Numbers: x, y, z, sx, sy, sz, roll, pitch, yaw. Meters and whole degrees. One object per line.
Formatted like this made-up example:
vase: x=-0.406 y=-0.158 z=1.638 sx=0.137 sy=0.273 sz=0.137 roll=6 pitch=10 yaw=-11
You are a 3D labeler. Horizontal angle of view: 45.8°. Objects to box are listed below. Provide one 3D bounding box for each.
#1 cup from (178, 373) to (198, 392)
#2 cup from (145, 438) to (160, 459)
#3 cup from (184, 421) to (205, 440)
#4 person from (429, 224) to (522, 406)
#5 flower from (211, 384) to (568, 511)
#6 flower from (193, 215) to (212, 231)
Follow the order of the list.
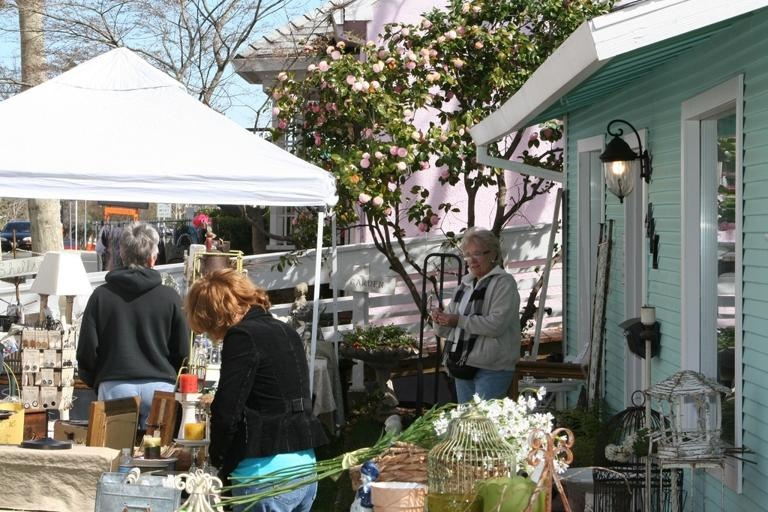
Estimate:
cup: x=-1.354 y=0.887 z=6.298 sx=0.116 sy=0.100 sz=0.119 roll=-1 pitch=-3 yaw=0
cup: x=-1.558 y=1.318 z=6.134 sx=0.103 sy=0.120 sz=0.105 roll=0 pitch=-12 yaw=0
cup: x=-1.212 y=1.130 z=5.830 sx=0.101 sy=0.077 sz=0.103 roll=1 pitch=-10 yaw=0
person: x=0.797 y=0.513 z=7.765 sx=0.719 sy=1.478 sz=0.461 roll=-2 pitch=-7 yaw=13
flower: x=0.057 y=1.051 z=4.676 sx=1.650 sy=0.531 sz=0.770 roll=-13 pitch=12 yaw=5
flower: x=-3.244 y=-0.556 z=16.168 sx=0.340 sy=0.171 sz=0.466 roll=6 pitch=28 yaw=-15
